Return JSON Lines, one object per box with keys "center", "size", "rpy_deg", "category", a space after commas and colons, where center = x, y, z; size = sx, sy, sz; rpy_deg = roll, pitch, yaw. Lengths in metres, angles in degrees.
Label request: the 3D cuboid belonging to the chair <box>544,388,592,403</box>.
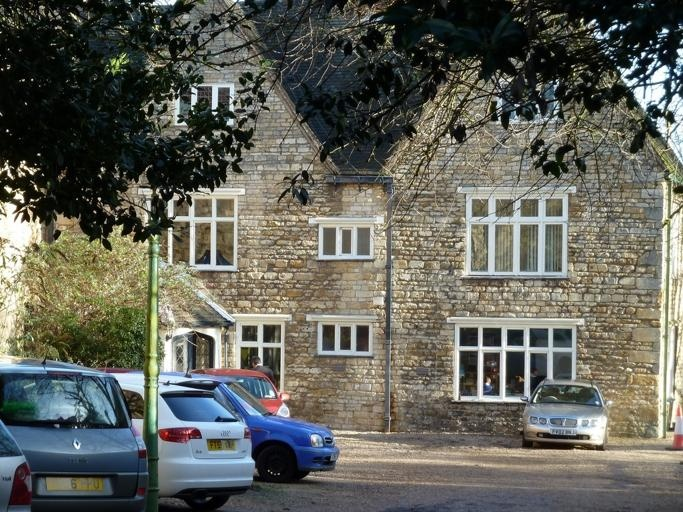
{"center": [5.140, 3.075, 38.132], "size": [0.439, 0.240, 0.740], "rpy_deg": [0, 0, -31], "category": "chair"}
